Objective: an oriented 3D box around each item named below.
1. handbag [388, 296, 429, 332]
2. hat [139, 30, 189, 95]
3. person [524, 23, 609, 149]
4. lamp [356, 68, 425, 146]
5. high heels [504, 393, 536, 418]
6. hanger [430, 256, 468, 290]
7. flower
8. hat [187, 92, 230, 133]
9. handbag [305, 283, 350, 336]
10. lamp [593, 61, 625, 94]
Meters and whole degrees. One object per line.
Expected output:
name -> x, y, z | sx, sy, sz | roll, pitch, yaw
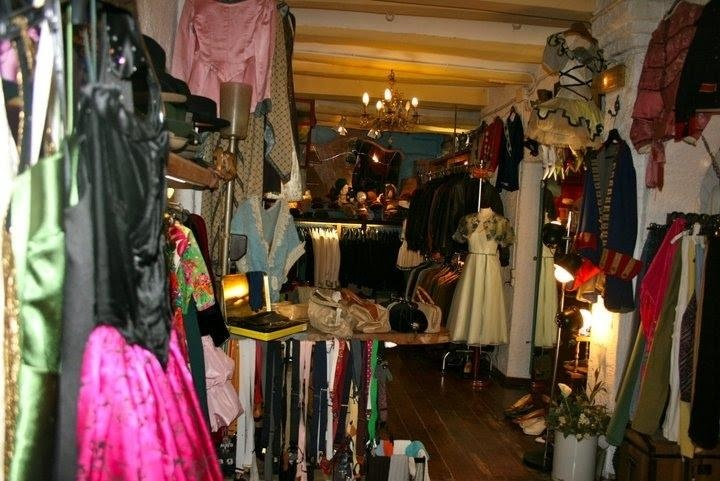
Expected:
handbag -> 0.237, 0.368, 3.287 | 0.106, 0.080, 0.199 | -3, 6, -17
hat -> -0.632, -0.561, 2.165 | 0.154, 0.210, 0.371 | 4, -2, -16
person -> 1.395, -0.962, 4.353 | 0.541, 0.819, 0.447 | 5, -1, -17
lamp -> 0.331, -1.412, 7.153 | 0.554, 0.873, 0.602 | 3, 0, -2
high heels -> 1.278, 1.288, 5.265 | 0.105, 0.140, 0.321 | -15, -5, 35
hanger -> 0.898, 0.311, 6.696 | 0.088, 0.305, 0.273 | 1, 3, -29
flower -> 1.329, 1.037, 4.177 | 0.353, 0.520, 0.495 | 8, -21, 4
hat -> -0.571, -0.471, 2.483 | 0.116, 0.055, 0.140 | 7, 0, 26
handbag -> -0.137, 0.354, 3.220 | 0.218, 0.192, 0.222 | 3, -2, 24
lamp -> 1.576, -1.009, 4.161 | 0.120, 0.110, 0.265 | 4, -2, -6
